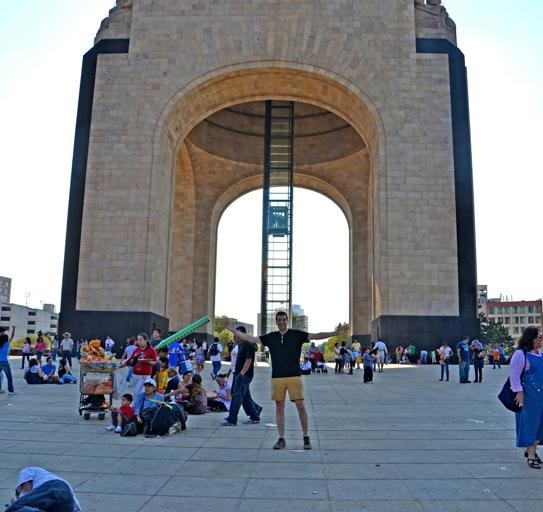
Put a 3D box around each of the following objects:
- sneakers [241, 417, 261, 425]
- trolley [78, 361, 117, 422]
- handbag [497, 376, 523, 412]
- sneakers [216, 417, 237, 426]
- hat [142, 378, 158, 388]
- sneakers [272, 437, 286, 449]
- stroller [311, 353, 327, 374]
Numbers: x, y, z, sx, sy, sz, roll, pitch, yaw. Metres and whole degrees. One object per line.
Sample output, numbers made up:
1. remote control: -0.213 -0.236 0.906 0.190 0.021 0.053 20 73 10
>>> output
1. sneakers: -0.347 2.773 9.775 0.280 0.133 0.113 7 -18 -11
2. trolley: -2.938 2.274 9.889 0.591 1.016 0.915 2 -7 -18
3. handbag: 2.822 1.626 6.894 0.356 0.528 0.189 6 -11 -24
4. sneakers: -0.761 2.713 9.518 0.348 0.162 0.135 4 -13 11
5. hat: -1.973 2.055 9.521 0.175 0.086 0.281 15 -29 14
6. sneakers: 0.098 2.452 7.643 0.119 0.165 0.367 -4 -17 10
7. stroller: 1.939 4.448 23.909 0.626 1.105 0.824 1 -40 -3
